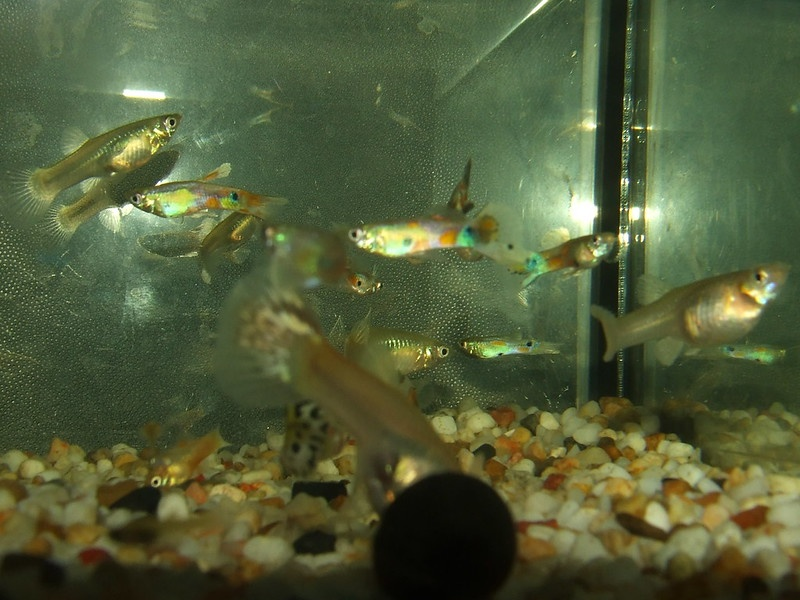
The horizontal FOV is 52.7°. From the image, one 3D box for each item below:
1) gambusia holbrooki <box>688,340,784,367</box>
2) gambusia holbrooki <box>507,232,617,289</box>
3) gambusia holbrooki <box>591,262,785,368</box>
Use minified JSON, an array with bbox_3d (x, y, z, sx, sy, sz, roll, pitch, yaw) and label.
[{"bbox_3d":[1.622,0.267,3.873,0.336,0.098,0.138,4,-28,23],"label":"gambusia holbrooki"},{"bbox_3d":[0.802,-0.205,4.037,0.490,0.230,0.098,-21,7,18],"label":"gambusia holbrooki"},{"bbox_3d":[1.368,0.073,3.736,0.860,0.369,0.196,-19,16,31],"label":"gambusia holbrooki"}]
